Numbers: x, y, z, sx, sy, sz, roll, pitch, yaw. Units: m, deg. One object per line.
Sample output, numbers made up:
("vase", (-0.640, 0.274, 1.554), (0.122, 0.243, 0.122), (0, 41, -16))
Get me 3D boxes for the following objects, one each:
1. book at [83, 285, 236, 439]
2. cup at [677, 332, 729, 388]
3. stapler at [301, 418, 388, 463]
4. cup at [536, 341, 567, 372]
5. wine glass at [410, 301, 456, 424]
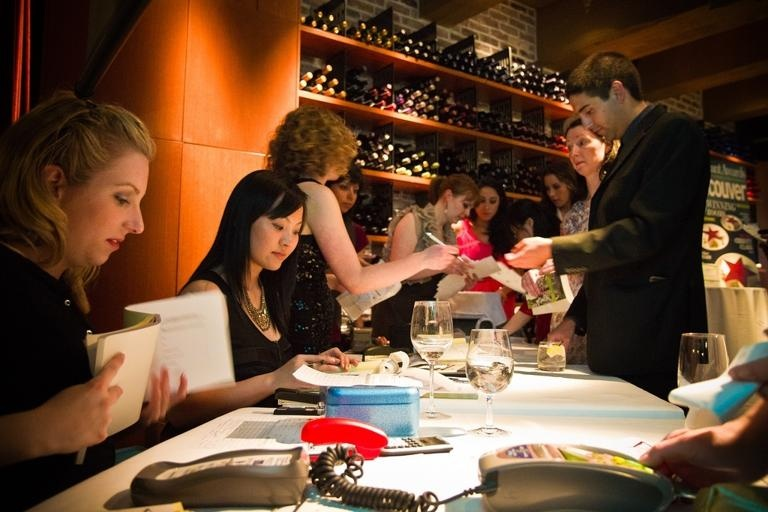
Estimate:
("book", (-0.612, 0.287, 1.702), (0.405, 0.339, 0.556), (1, 1, -15))
("cup", (0.886, 0.300, 1.689), (0.150, 0.215, 0.144), (0, -2, 0))
("stapler", (-0.102, 0.474, 1.482), (0.223, 0.093, 0.053), (1, -2, 6))
("cup", (0.677, 0.414, 2.343), (0.112, 0.106, 0.110), (0, -12, 0))
("wine glass", (0.168, 0.333, 1.878), (0.117, 0.334, 0.140), (4, 0, 8))
